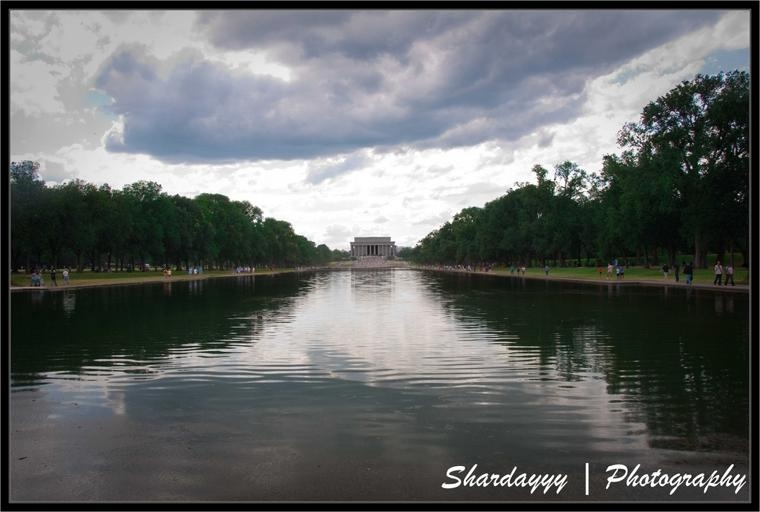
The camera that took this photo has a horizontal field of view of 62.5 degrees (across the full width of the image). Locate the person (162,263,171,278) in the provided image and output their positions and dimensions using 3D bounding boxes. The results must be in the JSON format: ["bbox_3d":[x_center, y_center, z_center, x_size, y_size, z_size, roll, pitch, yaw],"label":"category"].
[{"bbox_3d":[-32.378,2.228,95.309,1.028,1.430,2.441,8,18,0],"label":"person"}]

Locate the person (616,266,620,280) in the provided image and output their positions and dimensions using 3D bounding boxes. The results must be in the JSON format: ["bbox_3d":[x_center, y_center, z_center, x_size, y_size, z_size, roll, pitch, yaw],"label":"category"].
[{"bbox_3d":[26.020,1.793,68.422,0.328,1.192,0.950,4,10,27],"label":"person"}]
